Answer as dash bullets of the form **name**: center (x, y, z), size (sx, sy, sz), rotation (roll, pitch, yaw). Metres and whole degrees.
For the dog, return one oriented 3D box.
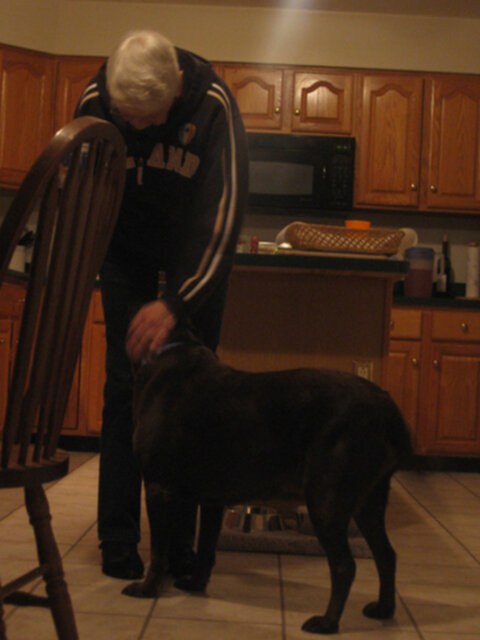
- **dog**: center (0.058, 0.338, 1.375), size (0.736, 0.765, 0.311), rotation (0, -10, 21)

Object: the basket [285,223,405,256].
- **basket**: center (0.270, -0.202, 1.625), size (0.169, 0.051, 0.140), rotation (1, 1, -4)

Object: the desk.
- **desk**: center (0.189, -0.011, 1.676), size (0.427, 0.509, 0.322), rotation (3, 6, 4)

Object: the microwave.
- **microwave**: center (0.373, -0.854, 3.718), size (0.623, 0.505, 0.398), rotation (1, 2, 0)

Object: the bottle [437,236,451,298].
- **bottle**: center (1.313, -0.336, 4.050), size (0.077, 0.368, 0.208), rotation (0, -5, 23)
